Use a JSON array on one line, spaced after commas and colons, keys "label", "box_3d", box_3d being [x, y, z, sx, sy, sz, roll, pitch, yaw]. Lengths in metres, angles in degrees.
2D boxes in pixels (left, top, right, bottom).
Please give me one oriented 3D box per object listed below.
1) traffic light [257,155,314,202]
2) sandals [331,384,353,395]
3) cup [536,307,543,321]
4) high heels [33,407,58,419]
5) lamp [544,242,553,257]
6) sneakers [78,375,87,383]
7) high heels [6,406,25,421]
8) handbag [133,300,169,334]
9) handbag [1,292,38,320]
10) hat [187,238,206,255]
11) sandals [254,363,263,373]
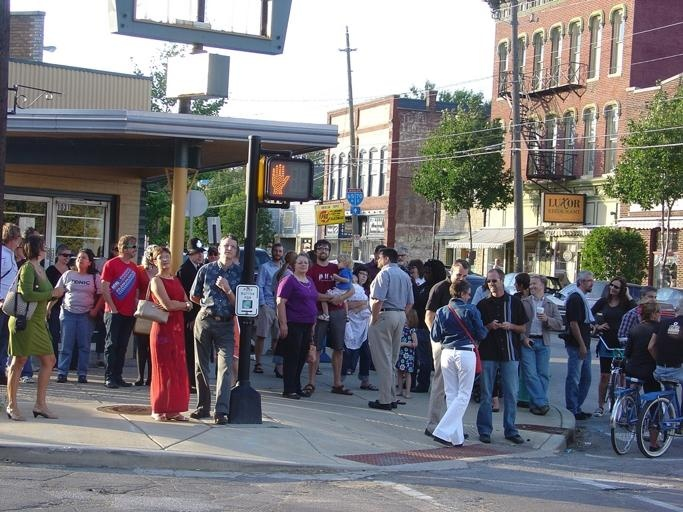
[{"label": "traffic light", "box_3d": [-0.854, -1.172, 16.801, 0.673, 0.593, 0.246, 1, -2, -20]}, {"label": "sandals", "box_3d": [0.013, 2.363, 19.680, 0.399, 0.170, 0.151, 1, -1, 7]}, {"label": "cup", "box_3d": [3.411, 0.980, 19.268, 0.158, 0.182, 0.159, 0, -5, 0]}, {"label": "high heels", "box_3d": [-4.271, 2.310, 16.413, 0.433, 0.237, 0.140, 1, -2, -10]}, {"label": "lamp", "box_3d": [8.392, -0.262, 45.565, 0.402, 0.760, 0.428, -1, -3, 20]}, {"label": "sneakers", "box_3d": [-4.367, 2.100, 19.024, 0.121, 0.103, 0.128, 3, -11, -13]}, {"label": "high heels", "box_3d": [-4.713, 2.279, 16.291, 0.235, 0.212, 0.326, 1, -2, -17]}, {"label": "handbag", "box_3d": [-2.884, 0.939, 17.224, 0.531, 0.559, 0.215, 5, 12, -2]}, {"label": "handbag", "box_3d": [-4.693, 0.765, 16.557, 0.441, 0.416, 0.334, 27, -6, 4]}, {"label": "hat", "box_3d": [-2.539, -0.179, 19.719, 0.249, 0.179, 0.326, -3, -8, -16]}, {"label": "sandals", "box_3d": [-1.569, 2.150, 21.402, 0.152, 0.187, 0.457, 1, -3, -11]}]
